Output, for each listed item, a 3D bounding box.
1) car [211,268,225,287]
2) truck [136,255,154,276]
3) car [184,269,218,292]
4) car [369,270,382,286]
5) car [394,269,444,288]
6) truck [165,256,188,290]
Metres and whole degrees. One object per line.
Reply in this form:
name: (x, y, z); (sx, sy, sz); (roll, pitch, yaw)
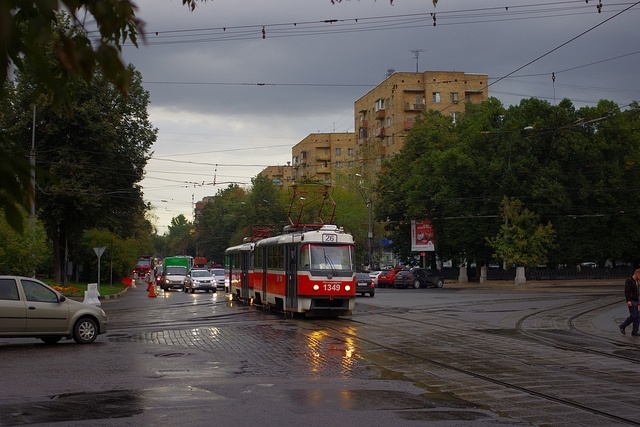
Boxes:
car: (-8.319, 5.098, 58.634); (1.125, 0.950, 2.353); (1, -9, -12)
truck: (-26.354, 7.626, 106.499); (2.264, 2.847, 6.153); (-1, -4, -6)
car: (-8.751, 4.842, 51.869); (1.324, 1.121, 2.627); (2, -10, -18)
car: (4.478, 5.401, 59.673); (1.118, 0.772, 2.355); (0, 7, -4)
car: (7.636, 5.024, 55.840); (3.570, 1.123, 1.566); (-3, 2, -33)
truck: (-11.660, 4.727, 58.011); (1.560, 1.755, 3.392); (1, -8, -9)
